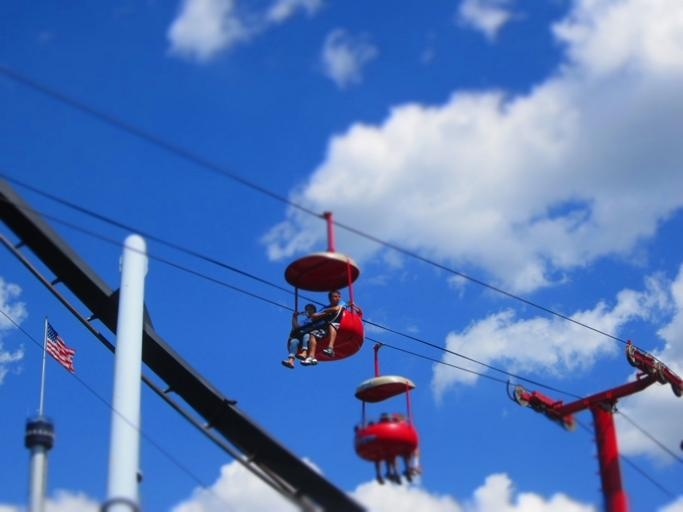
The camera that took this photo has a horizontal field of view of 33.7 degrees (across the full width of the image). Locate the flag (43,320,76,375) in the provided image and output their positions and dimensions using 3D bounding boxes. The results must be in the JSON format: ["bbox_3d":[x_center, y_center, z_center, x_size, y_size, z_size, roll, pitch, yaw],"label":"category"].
[{"bbox_3d":[-8.833,2.951,35.349,1.226,0.125,1.361,35,-44,9],"label":"flag"}]

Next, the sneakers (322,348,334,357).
[{"bbox_3d":[-0.313,2.382,27.636,0.257,0.155,0.176,28,-58,-34],"label":"sneakers"}]

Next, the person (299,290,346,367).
[{"bbox_3d":[-0.421,1.794,25.582,0.875,2.181,1.068,-24,-52,23],"label":"person"}]
